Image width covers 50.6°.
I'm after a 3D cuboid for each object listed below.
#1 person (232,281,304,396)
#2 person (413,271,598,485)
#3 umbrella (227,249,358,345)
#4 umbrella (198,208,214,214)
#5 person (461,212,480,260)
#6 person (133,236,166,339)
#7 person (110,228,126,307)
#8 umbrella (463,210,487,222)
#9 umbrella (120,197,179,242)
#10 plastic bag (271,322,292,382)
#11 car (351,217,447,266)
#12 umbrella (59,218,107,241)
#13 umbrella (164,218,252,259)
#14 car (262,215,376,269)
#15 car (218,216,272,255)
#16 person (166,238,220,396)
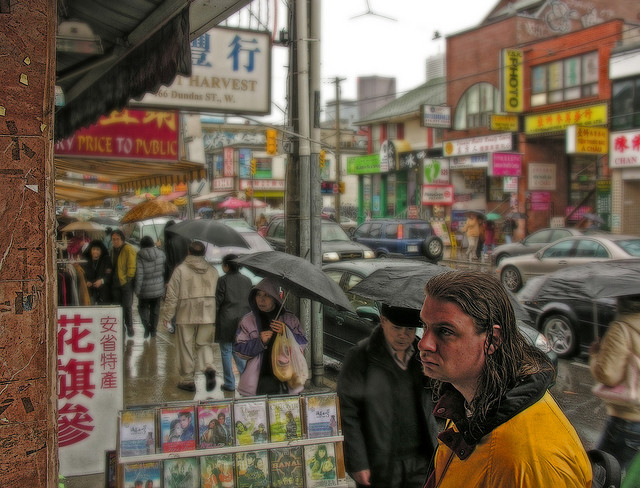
[{"bbox_3d":[-0.466,1.053,6.321,0.592,1.421,0.461,-1,1,-2],"label":"person"},{"bbox_3d":[0.851,0.630,3.182,0.721,0.989,1.186,1,-3,-1],"label":"person"},{"bbox_3d":[-0.192,0.338,6.314,1.148,0.649,0.665,-3,2,19],"label":"umbrella"},{"bbox_3d":[-5.789,-1.710,34.436,0.734,0.347,1.095,1,7,-8],"label":"umbrella"},{"bbox_3d":[5.742,-0.319,25.464,0.592,1.290,1.045,-3,1,4],"label":"person"},{"bbox_3d":[-2.875,0.756,11.498,0.529,1.663,0.781,-4,1,-14],"label":"person"},{"bbox_3d":[-3.420,0.403,11.526,0.269,1.285,0.428,-4,1,-17],"label":"person"},{"bbox_3d":[6.282,-1.143,27.097,0.614,0.229,0.641,10,-1,-16],"label":"umbrella"},{"bbox_3d":[-3.993,-0.736,15.476,1.178,1.127,1.218,-15,4,0],"label":"umbrella"},{"bbox_3d":[-0.328,0.983,6.167,0.179,0.592,0.156,-9,6,-5],"label":"plastic bag"},{"bbox_3d":[2.613,-0.326,24.515,1.588,1.350,3.027,-2,11,-22],"label":"car"},{"bbox_3d":[-5.315,-0.414,15.066,0.577,0.357,1.415,-4,2,-4],"label":"umbrella"},{"bbox_3d":[-1.729,-0.148,10.399,0.933,0.522,1.366,-5,2,-23],"label":"umbrella"},{"bbox_3d":[0.102,-0.057,20.175,1.455,1.491,3.264,-1,3,-25],"label":"car"},{"bbox_3d":[-1.713,-0.191,15.999,1.094,0.893,2.483,-2,15,-16],"label":"car"},{"bbox_3d":[-1.663,0.960,8.889,0.711,1.883,0.443,-4,1,-19],"label":"person"}]
